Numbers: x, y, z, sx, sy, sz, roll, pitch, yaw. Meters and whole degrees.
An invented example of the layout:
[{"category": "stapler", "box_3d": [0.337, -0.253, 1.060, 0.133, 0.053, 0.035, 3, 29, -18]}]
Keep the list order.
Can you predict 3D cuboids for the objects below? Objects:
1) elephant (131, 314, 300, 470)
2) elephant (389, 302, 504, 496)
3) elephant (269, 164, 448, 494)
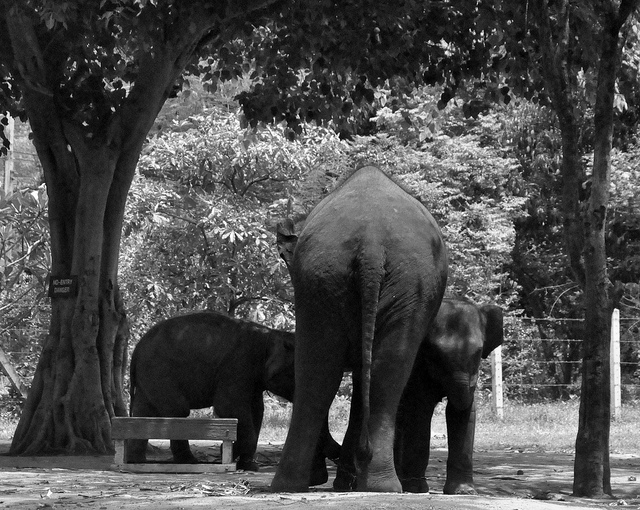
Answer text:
[{"category": "elephant", "box_3d": [-1.281, 1.445, 12.915, 1.942, 1.967, 1.604, 1, -9, 2]}, {"category": "elephant", "box_3d": [1.309, 1.461, 11.565, 1.003, 1.946, 1.230, 0, 0, 0]}, {"category": "elephant", "box_3d": [0.380, 0.612, 10.449, 1.477, 3.156, 0.750, 0, -8, 6]}]
